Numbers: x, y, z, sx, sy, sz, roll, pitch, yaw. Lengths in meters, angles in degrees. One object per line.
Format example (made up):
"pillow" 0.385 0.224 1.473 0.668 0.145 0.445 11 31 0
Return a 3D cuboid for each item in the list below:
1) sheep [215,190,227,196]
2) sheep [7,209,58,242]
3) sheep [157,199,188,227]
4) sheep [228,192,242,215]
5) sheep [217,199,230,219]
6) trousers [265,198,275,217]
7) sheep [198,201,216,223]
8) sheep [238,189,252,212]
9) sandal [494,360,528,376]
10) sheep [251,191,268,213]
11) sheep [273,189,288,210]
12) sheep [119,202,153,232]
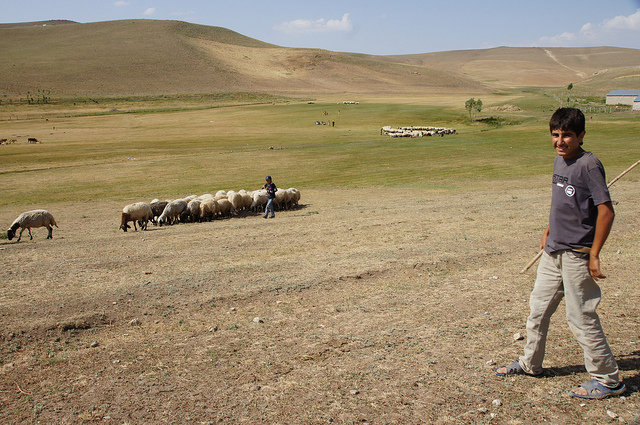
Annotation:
"sheep" -5.543 -1.086 30.081 0.455 0.248 0.489 0 3 -2
"sheep" -12.819 0.585 23.749 1.829 1.201 1.993 -12 14 -34
"sheep" -7.641 0.018 27.520 0.750 1.124 2.325 17 27 23
"sheep" -4.630 -0.448 29.040 0.513 1.136 1.038 3 14 30
"sheep" -5.063 -0.192 28.280 0.374 1.024 0.871 4 15 34
"trousers" -2.621 -0.263 27.692 0.474 1.037 0.854 -6 13 -6
"sheep" -5.822 -0.085 27.671 0.730 1.070 0.775 7 17 41
"sheep" -4.166 -0.599 29.676 0.774 1.171 0.885 -11 14 -25
"sandal" 4.010 3.317 11.246 0.711 0.232 0.229 0 -5 8
"sheep" -3.330 -0.590 29.691 0.964 1.089 0.526 -14 16 -38
"sheep" -2.191 -0.715 30.064 0.879 1.151 0.630 -5 13 -1
"sheep" -9.158 0.276 26.383 0.775 1.313 2.618 -7 10 18
